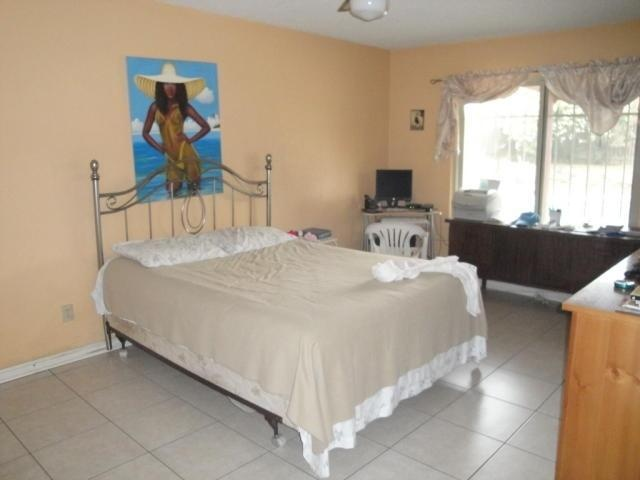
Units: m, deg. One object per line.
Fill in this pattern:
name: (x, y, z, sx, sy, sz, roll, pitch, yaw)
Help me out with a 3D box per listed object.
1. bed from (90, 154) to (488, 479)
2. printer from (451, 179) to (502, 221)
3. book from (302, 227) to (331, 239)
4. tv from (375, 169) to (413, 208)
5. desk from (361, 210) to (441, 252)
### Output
bed: (-0.371, 0.423, 3.921, 2.622, 1.909, 2.186, 11, 17, 43)
printer: (1.763, -0.484, 5.614, 0.477, 0.492, 0.444, -6, 8, -40)
book: (-0.027, -0.075, 5.260, 0.177, 0.051, 0.183, 6, 9, 34)
tv: (0.929, -0.660, 6.137, 0.451, 0.491, 0.207, 1, 7, 4)
desk: (1.052, -0.270, 5.930, 0.682, 0.683, 0.614, 0, 10, 5)
